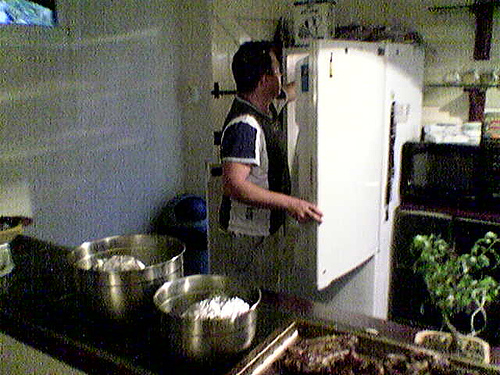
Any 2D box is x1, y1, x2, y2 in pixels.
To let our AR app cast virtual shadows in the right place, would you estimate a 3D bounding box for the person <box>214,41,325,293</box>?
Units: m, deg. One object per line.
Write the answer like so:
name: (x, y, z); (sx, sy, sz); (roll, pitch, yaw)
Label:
person: (0.067, -0.024, 2.163); (0.465, 1.215, 0.470); (-1, 11, -7)
